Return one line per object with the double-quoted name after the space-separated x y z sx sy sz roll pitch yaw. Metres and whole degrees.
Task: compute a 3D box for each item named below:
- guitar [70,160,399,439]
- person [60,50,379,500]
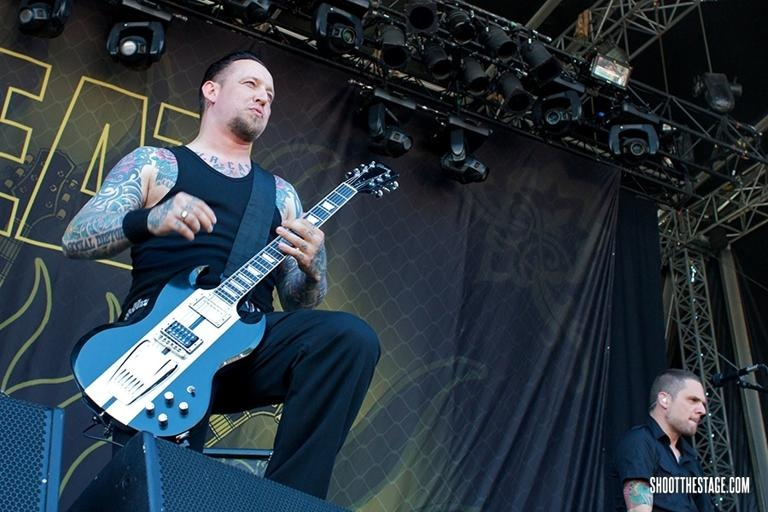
-0.718 0.171 3.309 0.547 1.708 0.177 36 -40 6 "guitar"
-0.777 0.183 3.480 0.662 0.174 2.057 33 36 4 "person"
